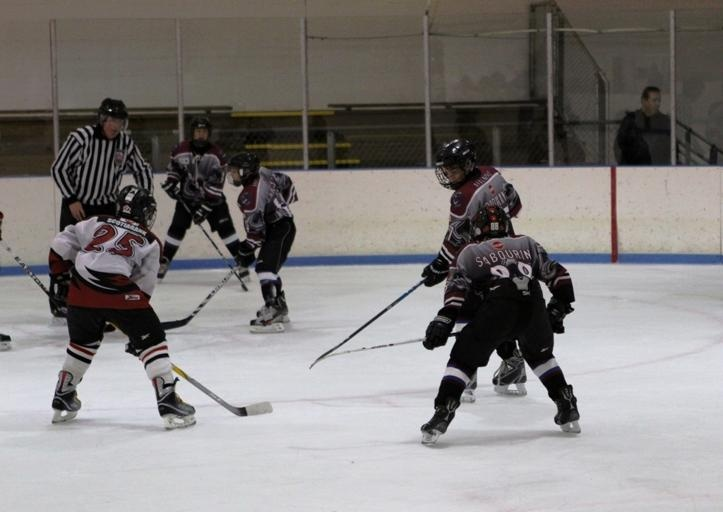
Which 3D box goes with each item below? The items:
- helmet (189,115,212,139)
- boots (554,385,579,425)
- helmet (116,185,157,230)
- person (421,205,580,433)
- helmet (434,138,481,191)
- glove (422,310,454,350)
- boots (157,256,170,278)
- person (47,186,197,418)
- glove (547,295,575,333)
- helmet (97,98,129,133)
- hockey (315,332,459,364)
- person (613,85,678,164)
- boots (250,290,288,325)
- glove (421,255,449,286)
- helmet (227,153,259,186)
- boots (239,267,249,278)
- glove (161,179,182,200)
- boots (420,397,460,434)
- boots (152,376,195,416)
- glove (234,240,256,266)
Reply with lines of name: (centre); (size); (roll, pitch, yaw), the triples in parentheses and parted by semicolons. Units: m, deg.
helmet: (-1.475, -1.178, 9.368); (0.186, 0.185, 0.212); (-1, 0, -12)
boots: (1.130, 0.817, 5.594); (0.131, 0.243, 0.114); (0, 8, 8)
helmet: (-1.287, -0.278, 5.893); (0.236, 0.236, 0.270); (7, 6, 5)
person: (0.763, 0.363, 5.589); (0.863, 1.242, 0.495); (-1, 8, 4)
helmet: (0.601, -0.581, 6.472); (0.247, 0.312, 0.314); (1, 7, 15)
glove: (0.455, 0.417, 5.740); (0.143, 0.237, 0.095); (40, -4, 13)
boots: (-1.732, 0.087, 8.874); (0.083, 0.205, 0.097); (1, 10, -10)
person: (-1.405, 0.277, 5.903); (0.942, 1.356, 0.513); (0, 8, 8)
glove: (1.130, 0.335, 5.835); (0.176, 0.200, 0.101); (19, 16, 37)
helmet: (-1.853, -1.080, 7.596); (0.189, 0.180, 0.160); (-4, 8, -19)
hockey: (0.171, 0.620, 6.851); (1.066, 0.027, 0.139); (-11, 49, -12)
person: (2.920, -1.358, 10.538); (0.565, 0.794, 0.217); (0, 8, 10)
boots: (-0.693, 0.398, 7.704); (0.303, 0.259, 0.154); (-3, 8, -14)
glove: (0.491, 0.102, 6.478); (0.217, 0.151, 0.070); (-36, -25, -15)
helmet: (-0.884, -0.653, 7.665); (0.301, 0.236, 0.221); (3, 8, 8)
boots: (-1.049, 0.134, 9.057); (0.090, 0.079, 0.088); (15, 33, 42)
glove: (-1.782, -0.639, 9.457); (0.234, 0.076, 0.164); (23, 2, 11)
boots: (0.437, 0.872, 5.552); (0.096, 0.179, 0.269); (35, -20, -6)
boots: (-0.990, 0.778, 5.705); (0.329, 0.240, 0.112); (-4, 7, 26)
glove: (-0.883, -0.028, 7.773); (0.176, 0.203, 0.221); (-1, -17, -4)
